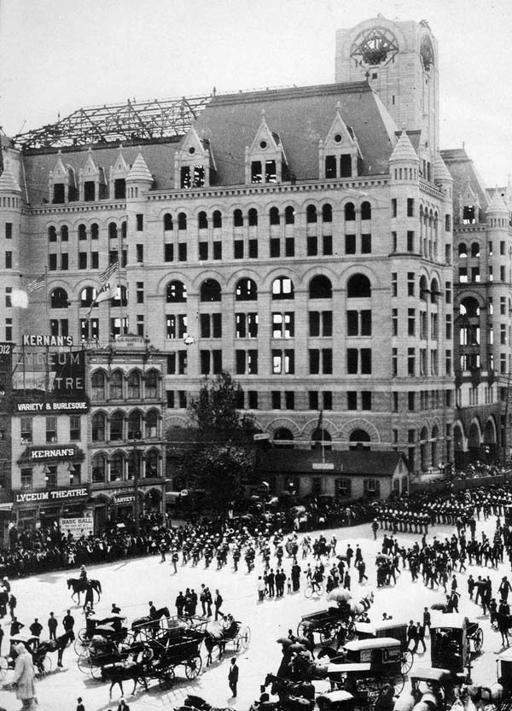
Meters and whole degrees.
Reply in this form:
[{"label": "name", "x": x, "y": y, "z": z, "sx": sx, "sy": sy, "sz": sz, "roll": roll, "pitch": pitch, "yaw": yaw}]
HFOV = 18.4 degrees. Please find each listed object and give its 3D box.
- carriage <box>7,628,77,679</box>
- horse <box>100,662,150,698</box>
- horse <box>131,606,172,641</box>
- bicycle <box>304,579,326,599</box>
[{"label": "carriage", "x": -9.237, "y": 12.835, "z": 67.739, "sx": 2.241, "sy": 1.789, "sz": 7.527, "roll": -2, "pitch": -8, "yaw": 3}, {"label": "horse", "x": -5.475, "y": 13.472, "z": 65.693, "sx": 1.788, "sy": 1.431, "sz": 2.703, "roll": -3, "pitch": -8, "yaw": 13}, {"label": "horse", "x": -4.646, "y": 11.766, "z": 69.209, "sx": 1.651, "sy": 1.415, "sz": 5.093, "roll": -1, "pitch": -8, "yaw": -4}, {"label": "bicycle", "x": 2.940, "y": 12.406, "z": 83.376, "sx": 0.604, "sy": 0.871, "sz": 1.263, "roll": -20, "pitch": -17, "yaw": 25}]
